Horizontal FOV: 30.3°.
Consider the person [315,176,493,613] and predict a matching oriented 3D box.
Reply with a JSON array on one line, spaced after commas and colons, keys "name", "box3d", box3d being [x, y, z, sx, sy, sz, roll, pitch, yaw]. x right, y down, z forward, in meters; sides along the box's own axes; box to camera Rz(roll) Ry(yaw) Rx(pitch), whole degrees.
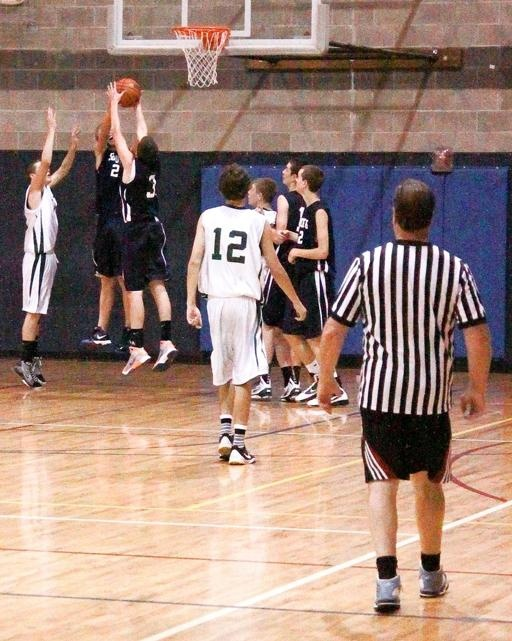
[{"name": "person", "box3d": [0.411, 0.193, 2.632, 0.467, 1.203, 0.247, 0, -1, 3]}]

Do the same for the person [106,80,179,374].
[{"name": "person", "box3d": [-0.868, -0.739, 7.033, 0.444, 2.251, 0.870, 0, -1, -8]}]

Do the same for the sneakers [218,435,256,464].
[{"name": "sneakers", "box3d": [-0.106, 0.673, 4.895, 0.092, 0.122, 0.246, -1, -6, 14]}]

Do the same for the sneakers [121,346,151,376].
[{"name": "sneakers", "box3d": [-1.031, 0.342, 8.148, 0.163, 0.130, 0.385, 39, -32, 2]}]

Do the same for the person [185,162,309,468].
[{"name": "person", "box3d": [-0.078, -0.033, 4.772, 0.538, 1.547, 0.427, 0, -1, 2]}]
